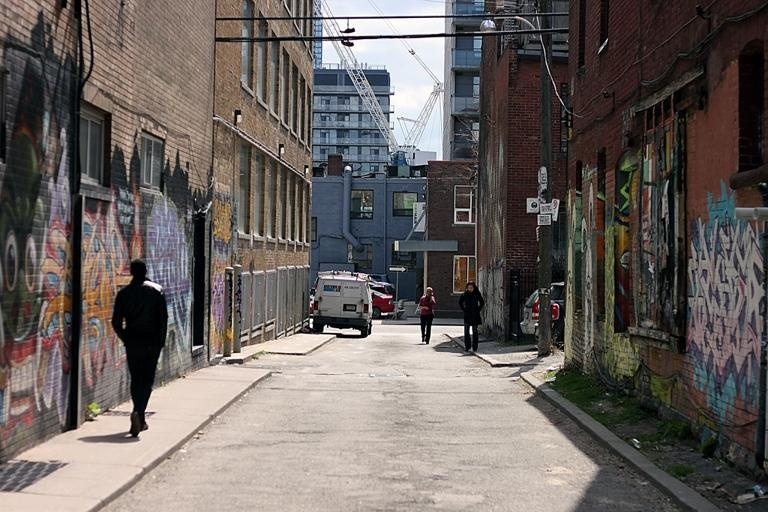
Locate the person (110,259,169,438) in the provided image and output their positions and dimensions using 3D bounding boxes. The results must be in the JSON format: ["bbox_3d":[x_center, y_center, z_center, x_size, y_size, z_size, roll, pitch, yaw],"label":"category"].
[{"bbox_3d":[-3.769,1.364,11.408,0.785,2.628,0.560,1,0,-13],"label":"person"}]

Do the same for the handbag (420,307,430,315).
[{"bbox_3d":[1.584,2.187,30.039,0.249,0.322,0.286,1,-3,11],"label":"handbag"}]

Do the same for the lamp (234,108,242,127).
[{"bbox_3d":[-4.249,-3.974,21.452,0.151,0.322,0.356,1,0,1],"label":"lamp"}]

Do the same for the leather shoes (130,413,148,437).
[{"bbox_3d":[-3.770,2.571,11.315,0.139,0.216,0.505,0,-43,1],"label":"leather shoes"}]

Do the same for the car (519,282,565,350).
[{"bbox_3d":[5.000,1.747,22.820,1.711,1.140,1.078,-3,2,-21],"label":"car"}]
